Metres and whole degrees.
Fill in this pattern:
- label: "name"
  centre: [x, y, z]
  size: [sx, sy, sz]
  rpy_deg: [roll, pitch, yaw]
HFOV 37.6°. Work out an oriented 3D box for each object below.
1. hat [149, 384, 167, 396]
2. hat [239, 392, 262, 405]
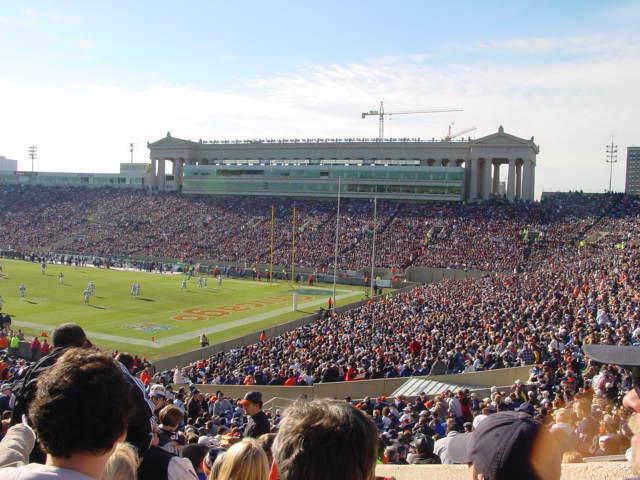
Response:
- label: "hat"
  centre: [-4.251, 4.058, 24.759]
  size: [0.418, 0.311, 0.582]
  rpy_deg: [0, 5, -6]
- label: "hat"
  centre: [-1.698, 4.038, 24.130]
  size: [0.418, 0.348, 0.471]
  rpy_deg: [2, 2, 25]
